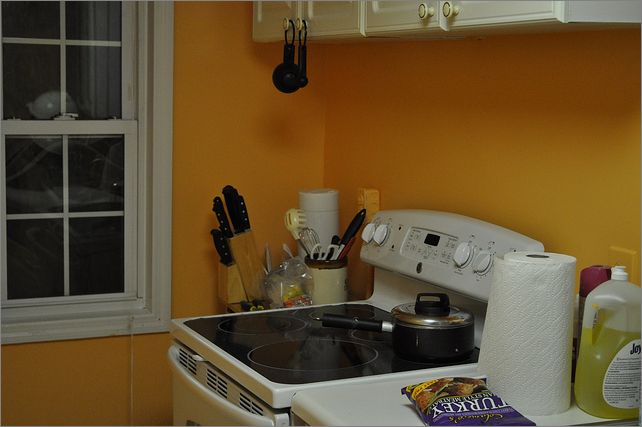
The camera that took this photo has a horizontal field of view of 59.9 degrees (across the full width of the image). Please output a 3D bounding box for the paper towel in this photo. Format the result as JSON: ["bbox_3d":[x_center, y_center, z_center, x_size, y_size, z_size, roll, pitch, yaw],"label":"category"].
[{"bbox_3d":[0.510,0.293,1.438,0.173,0.422,0.184,3,14,5],"label":"paper towel"}]

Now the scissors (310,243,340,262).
[{"bbox_3d":[0.015,0.157,2.314,0.088,0.089,0.067,2,2,3],"label":"scissors"}]

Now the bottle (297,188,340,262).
[{"bbox_3d":[-0.023,0.051,2.584,0.192,0.308,0.162,0,2,-27],"label":"bottle"}]

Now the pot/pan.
[{"bbox_3d":[0.252,0.330,1.707,0.395,0.154,0.199,2,2,4],"label":"pot/pan"}]
